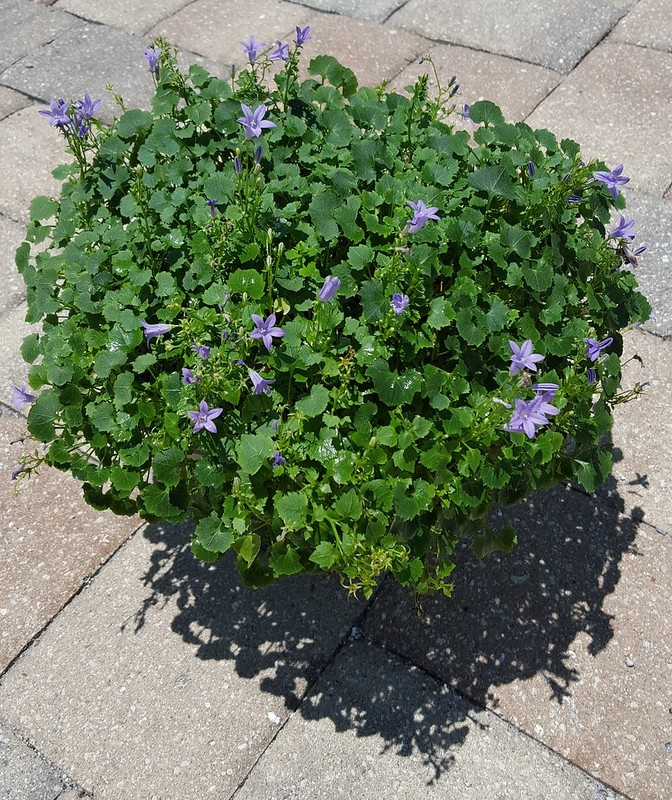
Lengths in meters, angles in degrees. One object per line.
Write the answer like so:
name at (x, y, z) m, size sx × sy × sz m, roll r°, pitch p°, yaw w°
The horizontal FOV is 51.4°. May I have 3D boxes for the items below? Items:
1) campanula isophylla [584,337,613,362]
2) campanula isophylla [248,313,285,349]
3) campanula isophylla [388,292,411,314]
campanula isophylla at (0.769, -0.160, 2.040) m, size 0.030 × 0.096 × 0.086 m, roll -10°, pitch 88°, yaw 34°
campanula isophylla at (-0.173, -0.175, 1.767) m, size 0.087 × 0.030 × 0.101 m, roll 23°, pitch 80°, yaw 1°
campanula isophylla at (0.170, -0.255, 1.839) m, size 0.054 × 0.026 × 0.059 m, roll -1°, pitch 93°, yaw -5°
